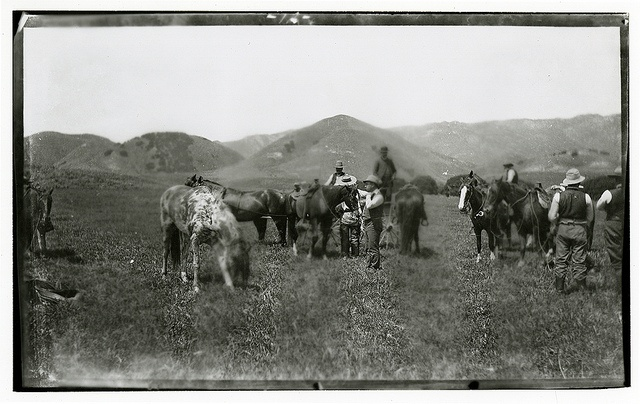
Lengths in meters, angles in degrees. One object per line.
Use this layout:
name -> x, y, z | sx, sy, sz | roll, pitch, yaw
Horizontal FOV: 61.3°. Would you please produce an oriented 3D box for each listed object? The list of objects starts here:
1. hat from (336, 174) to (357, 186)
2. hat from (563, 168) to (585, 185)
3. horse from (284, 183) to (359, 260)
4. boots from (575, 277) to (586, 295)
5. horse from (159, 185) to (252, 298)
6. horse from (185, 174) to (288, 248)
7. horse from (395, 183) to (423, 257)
hat -> 0.424, -0.348, 8.647 | 0.350, 0.184, 0.065 | 1, 3, -9
hat -> 4.144, -0.401, 8.848 | 0.270, 0.144, 0.283 | -7, 16, 36
horse -> -0.050, 0.273, 8.820 | 0.550, 1.199, 1.687 | 4, -2, -41
boots -> 4.299, 1.393, 8.861 | 0.203, 0.251, 0.205 | -1, -8, -4
horse -> -2.066, 0.618, 9.081 | 0.665, 1.776, 2.335 | -4, 7, -44
horse -> -1.285, 0.115, 8.725 | 1.731, 1.000, 0.450 | 4, 0, -13
horse -> 1.549, 0.074, 9.191 | 0.430, 0.989, 1.489 | 0, 16, 10
